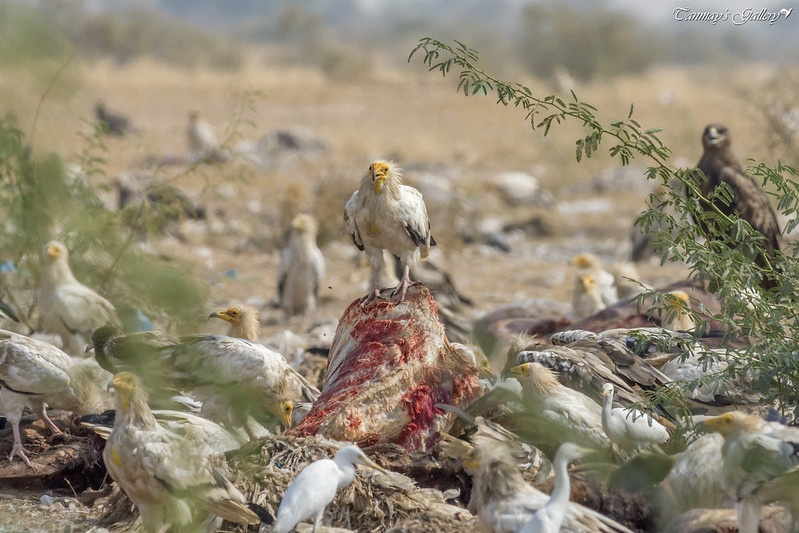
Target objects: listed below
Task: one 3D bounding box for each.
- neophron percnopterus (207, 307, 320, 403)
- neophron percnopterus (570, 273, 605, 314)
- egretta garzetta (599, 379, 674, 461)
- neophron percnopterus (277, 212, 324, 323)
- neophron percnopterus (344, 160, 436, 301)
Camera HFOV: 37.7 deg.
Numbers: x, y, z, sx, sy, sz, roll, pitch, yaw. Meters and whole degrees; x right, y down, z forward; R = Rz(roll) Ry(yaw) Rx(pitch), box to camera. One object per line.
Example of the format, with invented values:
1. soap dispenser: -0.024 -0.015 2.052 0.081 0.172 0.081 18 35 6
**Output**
1. neophron percnopterus: -1.224 0.782 10.327 0.487 0.878 1.557 27 11 34
2. neophron percnopterus: 1.859 0.309 11.414 0.338 0.421 0.314 12 2 -1
3. egretta garzetta: 1.736 1.105 8.429 0.702 0.485 0.292 20 -24 -14
4. neophron percnopterus: -1.042 0.020 12.322 0.528 1.297 0.693 -5 16 -19
5. neophron percnopterus: -0.058 -0.287 9.395 0.665 1.019 1.032 -3 0 19
